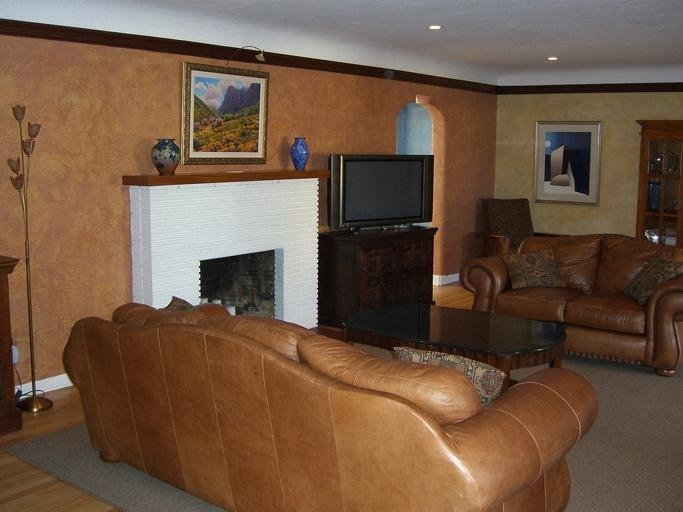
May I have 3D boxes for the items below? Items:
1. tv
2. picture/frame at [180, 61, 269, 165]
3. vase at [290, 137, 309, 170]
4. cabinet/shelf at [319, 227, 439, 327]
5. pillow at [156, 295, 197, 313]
[{"bbox_3d":[0.490,-0.781,6.740,1.687,0.866,0.159,-5,7,-41],"label":"tv"},{"bbox_3d":[-1.121,-1.353,5.334,1.049,0.859,0.053,-10,17,-43],"label":"picture/frame"},{"bbox_3d":[-0.443,-1.071,6.012,0.183,0.364,0.285,-1,6,-5],"label":"vase"},{"bbox_3d":[0.341,0.216,6.194,0.384,0.672,1.068,8,13,41],"label":"cabinet/shelf"},{"bbox_3d":[-1.056,0.319,3.754,0.166,0.054,0.187,2,9,1],"label":"pillow"}]
